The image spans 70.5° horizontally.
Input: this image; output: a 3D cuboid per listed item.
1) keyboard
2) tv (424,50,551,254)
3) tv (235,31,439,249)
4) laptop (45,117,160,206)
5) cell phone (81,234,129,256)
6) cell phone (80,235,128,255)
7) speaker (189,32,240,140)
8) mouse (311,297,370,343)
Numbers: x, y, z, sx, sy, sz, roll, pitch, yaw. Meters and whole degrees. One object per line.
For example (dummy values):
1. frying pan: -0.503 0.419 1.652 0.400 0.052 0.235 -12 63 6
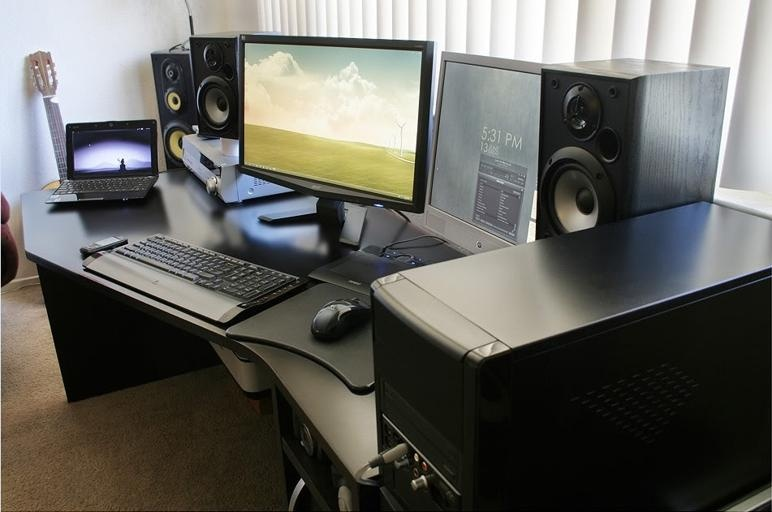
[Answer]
1. keyboard: -0.516 0.052 1.432 0.468 0.049 0.212 18 39 36
2. tv: 0.237 -0.245 1.277 0.039 0.405 0.409 -6 22 -25
3. tv: -0.138 -0.331 1.576 0.581 0.538 0.151 12 24 31
4. laptop: -1.034 -0.358 2.057 0.391 0.269 0.315 -2 29 -4
5. cell phone: -0.836 -0.035 1.618 0.099 0.023 0.057 -28 32 -37
6. cell phone: -0.838 -0.033 1.615 0.058 0.022 0.095 13 32 44
7. speaker: -0.623 -0.614 2.010 0.179 0.352 0.306 -9 27 -16
8. mouse: -0.102 0.126 1.233 0.067 0.049 0.128 16 34 33
